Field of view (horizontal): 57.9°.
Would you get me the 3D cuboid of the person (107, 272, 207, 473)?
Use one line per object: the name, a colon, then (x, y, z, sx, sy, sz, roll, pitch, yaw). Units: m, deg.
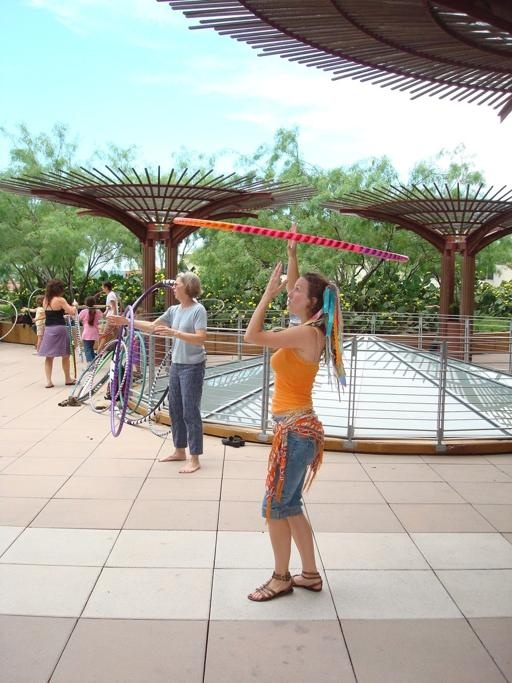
person: (-0.750, 0.309, 4.508, 0.529, 1.898, 0.799, 1, -2, -9)

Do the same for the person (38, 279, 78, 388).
person: (-3.852, -0.130, 9.138, 0.768, 2.043, 0.584, -1, 1, -13)

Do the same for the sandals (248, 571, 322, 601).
sandals: (0.159, 1.201, 2.378, 0.337, 0.112, 0.145, 0, -7, -18)

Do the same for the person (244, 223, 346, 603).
person: (0.214, 0.347, 2.341, 0.461, 1.854, 0.644, 0, -2, 10)

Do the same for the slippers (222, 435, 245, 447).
slippers: (-0.224, 1.168, 5.432, 0.261, 0.101, 0.238, -2, -3, 44)

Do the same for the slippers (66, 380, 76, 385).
slippers: (-3.601, 0.818, 9.259, 0.250, 0.092, 0.080, -2, 8, 3)
